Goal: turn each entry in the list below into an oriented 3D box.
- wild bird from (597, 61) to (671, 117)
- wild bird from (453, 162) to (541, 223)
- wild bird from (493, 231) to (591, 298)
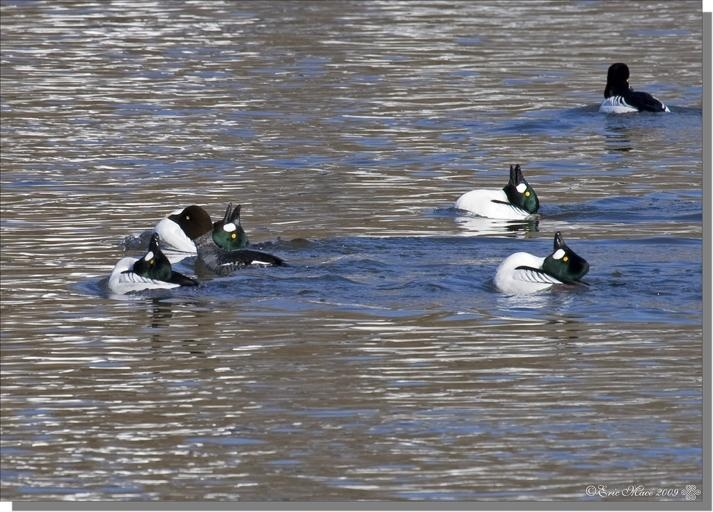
[{"bbox_3d":[6.424,-3.901,23.958,1.458,1.132,0.426,1,13,7],"label":"wild bird"},{"bbox_3d":[2.345,-1.003,16.812,1.498,0.769,0.826,11,33,30],"label":"wild bird"},{"bbox_3d":[2.478,0.180,13.260,0.865,0.640,1.392,-18,14,-38],"label":"wild bird"}]
